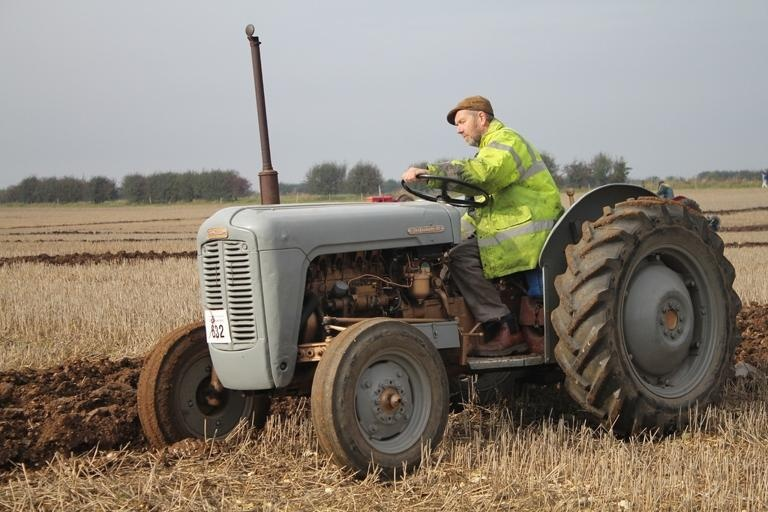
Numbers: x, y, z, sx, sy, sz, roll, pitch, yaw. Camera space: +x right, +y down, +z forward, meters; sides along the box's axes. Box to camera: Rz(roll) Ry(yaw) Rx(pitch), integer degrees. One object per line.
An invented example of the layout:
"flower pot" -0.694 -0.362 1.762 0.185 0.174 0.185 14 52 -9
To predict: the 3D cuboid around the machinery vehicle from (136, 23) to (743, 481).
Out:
"machinery vehicle" 0.721 0.164 7.810 5.593 3.828 3.444 0 -3 -42
